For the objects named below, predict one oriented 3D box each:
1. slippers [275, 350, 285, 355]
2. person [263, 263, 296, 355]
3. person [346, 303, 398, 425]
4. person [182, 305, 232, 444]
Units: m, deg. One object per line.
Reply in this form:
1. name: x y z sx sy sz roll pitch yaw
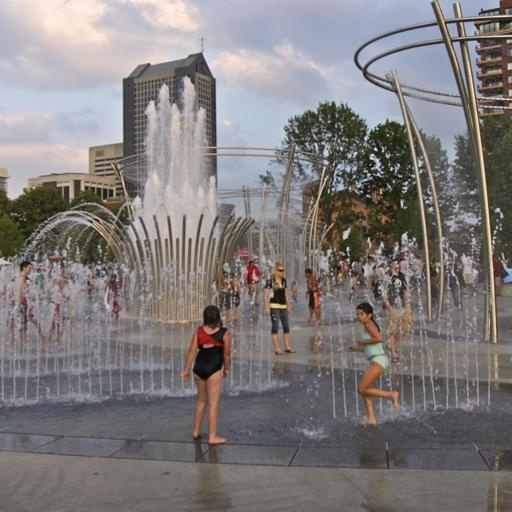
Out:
1. slippers: 0.385 1.554 13.569 0.154 0.070 0.299 -1 -4 2
2. person: 0.384 0.870 14.095 0.442 1.502 1.287 -1 -3 1
3. person: 1.353 1.180 9.601 0.513 1.292 1.714 -1 -3 8
4. person: -0.496 1.176 8.410 0.452 1.357 0.486 -1 -3 -5
